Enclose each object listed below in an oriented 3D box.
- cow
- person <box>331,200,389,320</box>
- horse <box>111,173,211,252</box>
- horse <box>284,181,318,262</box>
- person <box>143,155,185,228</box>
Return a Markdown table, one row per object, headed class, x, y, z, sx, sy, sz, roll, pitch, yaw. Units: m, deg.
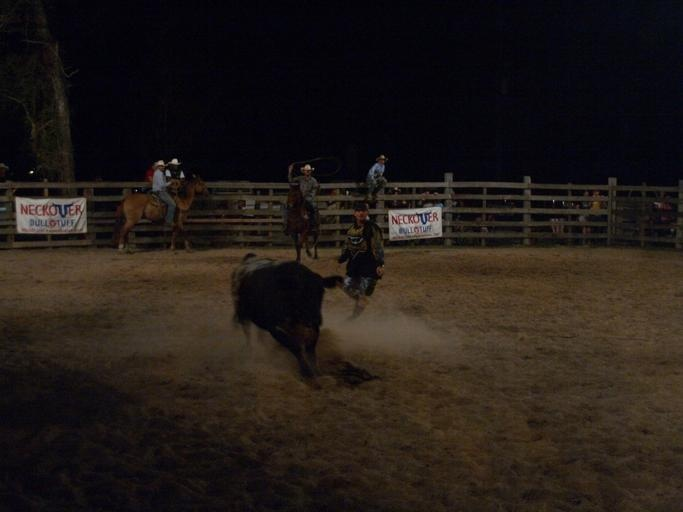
| class | x | y | z | sx | sy | sz | roll | pitch | yaw |
| --- | --- | --- | --- | --- | --- | --- | --- | --- | --- |
| cow | -0.740 | 0.694 | 7.647 | 0.779 | 1.381 | 1.393 | -10 | 17 | -36 |
| person | 0.312 | 0.212 | 9.625 | 0.706 | 1.659 | 0.358 | 4 | 14 | 15 |
| horse | -4.827 | -1.170 | 17.039 | 2.671 | 1.918 | 0.709 | -4 | 5 | -33 |
| horse | -0.974 | -0.850 | 15.820 | 0.702 | 1.933 | 2.656 | 1 | 3 | 8 |
| person | -4.760 | -1.655 | 16.929 | 0.666 | 1.888 | 1.047 | -3 | 14 | -15 |
